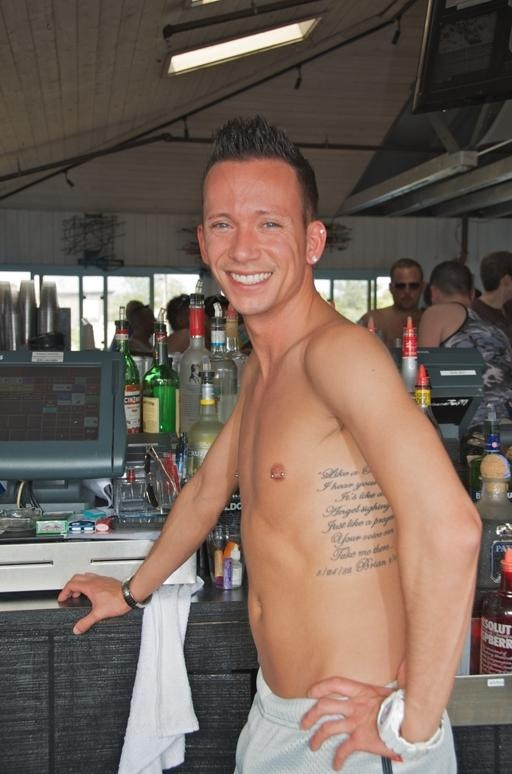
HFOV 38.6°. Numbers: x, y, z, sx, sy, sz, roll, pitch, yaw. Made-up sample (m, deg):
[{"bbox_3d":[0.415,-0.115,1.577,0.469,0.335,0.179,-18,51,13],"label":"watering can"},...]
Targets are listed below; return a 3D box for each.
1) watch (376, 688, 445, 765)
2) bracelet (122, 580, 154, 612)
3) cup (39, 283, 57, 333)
[{"bbox_3d":[0.168,0.374,0.800,0.066,0.083,0.040,19,30,34],"label":"watch"},{"bbox_3d":[-0.215,0.370,1.310,0.057,0.052,0.057,-5,-14,-13],"label":"bracelet"},{"bbox_3d":[-0.582,-0.222,2.035,0.049,0.144,0.095,-2,2,-16],"label":"cup"}]
